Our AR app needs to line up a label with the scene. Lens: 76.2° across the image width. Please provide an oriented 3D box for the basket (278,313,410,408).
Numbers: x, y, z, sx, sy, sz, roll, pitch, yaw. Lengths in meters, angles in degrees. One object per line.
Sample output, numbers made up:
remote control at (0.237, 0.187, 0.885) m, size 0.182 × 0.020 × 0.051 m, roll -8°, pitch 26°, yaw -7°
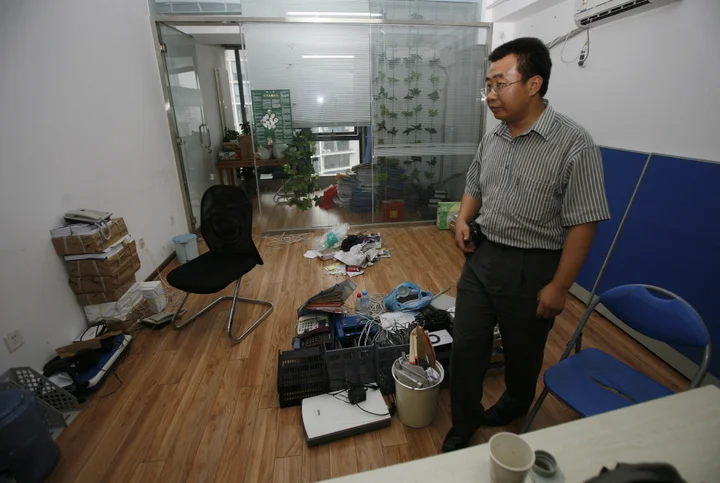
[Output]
basket at (-0.163, 0.775, 3.004) m, size 0.631 × 0.232 × 0.467 m, roll -4°, pitch 20°, yaw -9°

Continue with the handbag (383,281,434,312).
handbag at (0.372, 0.465, 3.511) m, size 0.310 × 0.115 × 0.223 m, roll -17°, pitch 18°, yaw 30°

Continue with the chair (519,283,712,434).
chair at (1.411, 0.659, 2.526) m, size 0.626 × 0.766 × 0.492 m, roll -18°, pitch 39°, yaw -22°

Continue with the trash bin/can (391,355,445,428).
trash bin/can at (0.342, 0.896, 2.918) m, size 0.369 × 0.380 × 0.374 m, roll 10°, pitch 17°, yaw 30°

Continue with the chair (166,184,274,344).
chair at (-1.137, 0.151, 3.607) m, size 0.734 × 1.079 × 0.750 m, roll -23°, pitch 28°, yaw -39°

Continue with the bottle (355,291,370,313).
bottle at (0.016, 0.465, 3.508) m, size 0.117 × 0.150 × 0.094 m, roll -8°, pitch 22°, yaw -10°

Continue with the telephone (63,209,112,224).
telephone at (-1.993, -0.174, 3.334) m, size 0.261 × 0.110 × 0.178 m, roll -4°, pitch 21°, yaw 0°

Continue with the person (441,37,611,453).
person at (0.866, 0.142, 2.538) m, size 0.851 × 2.278 × 0.659 m, roll 9°, pitch 14°, yaw 35°

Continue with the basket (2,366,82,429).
basket at (-1.956, 0.941, 2.839) m, size 0.310 × 0.449 × 0.172 m, roll -9°, pitch 22°, yaw -13°

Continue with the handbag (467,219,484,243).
handbag at (0.635, -0.055, 2.536) m, size 0.041 × 0.106 × 0.077 m, roll -27°, pitch 5°, yaw 10°

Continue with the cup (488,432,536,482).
cup at (0.596, 0.889, 1.858) m, size 0.174 × 0.126 × 0.171 m, roll -3°, pitch 33°, yaw 2°

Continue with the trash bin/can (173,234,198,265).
trash bin/can at (-1.753, 0.088, 4.607) m, size 0.224 × 0.225 × 0.225 m, roll 2°, pitch 24°, yaw 1°
